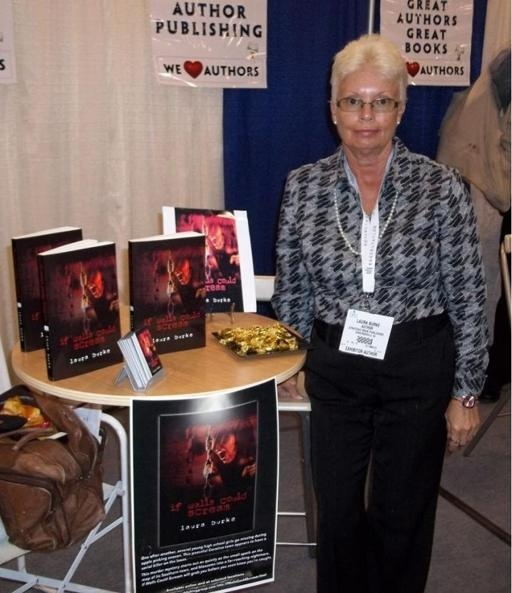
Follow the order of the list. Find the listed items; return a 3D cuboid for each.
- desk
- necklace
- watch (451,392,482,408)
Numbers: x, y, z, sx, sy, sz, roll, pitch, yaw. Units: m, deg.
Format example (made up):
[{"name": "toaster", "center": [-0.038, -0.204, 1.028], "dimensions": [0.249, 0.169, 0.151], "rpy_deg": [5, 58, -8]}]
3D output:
[{"name": "desk", "center": [-0.272, 0.283, 1.479], "dimensions": [0.693, 0.491, 0.688], "rpy_deg": [-5, 22, -12]}, {"name": "necklace", "center": [0.283, -0.195, 1.390], "dimensions": [0.170, 0.171, 0.088], "rpy_deg": [4, 14, 6]}, {"name": "watch", "center": [0.578, 0.272, 1.431], "dimensions": [0.059, 0.034, 0.051], "rpy_deg": [3, 3, 10]}]
